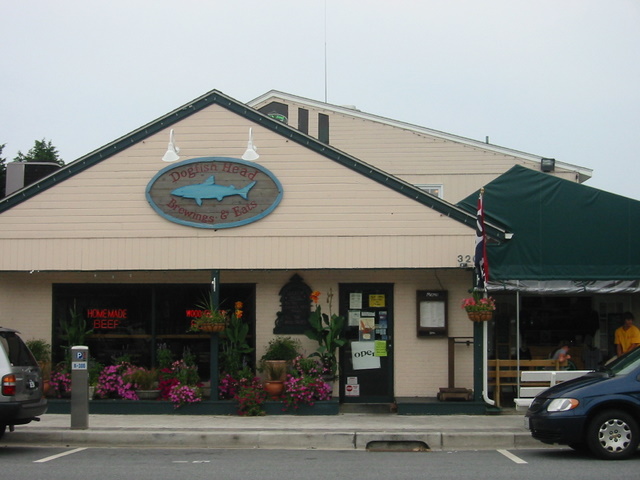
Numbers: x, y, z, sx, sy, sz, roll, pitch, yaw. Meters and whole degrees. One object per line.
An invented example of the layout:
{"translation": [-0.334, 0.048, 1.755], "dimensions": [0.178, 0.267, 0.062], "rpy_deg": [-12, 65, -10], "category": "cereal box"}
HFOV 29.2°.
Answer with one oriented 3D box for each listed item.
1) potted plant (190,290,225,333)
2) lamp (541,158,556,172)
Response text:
{"translation": [-2.579, 1.763, 27.824], "dimensions": [0.749, 0.669, 0.925], "rpy_deg": [0, -10, 0], "category": "potted plant"}
{"translation": [6.325, -2.107, 34.116], "dimensions": [0.427, 0.445, 0.495], "rpy_deg": [-4, -9, 10], "category": "lamp"}
